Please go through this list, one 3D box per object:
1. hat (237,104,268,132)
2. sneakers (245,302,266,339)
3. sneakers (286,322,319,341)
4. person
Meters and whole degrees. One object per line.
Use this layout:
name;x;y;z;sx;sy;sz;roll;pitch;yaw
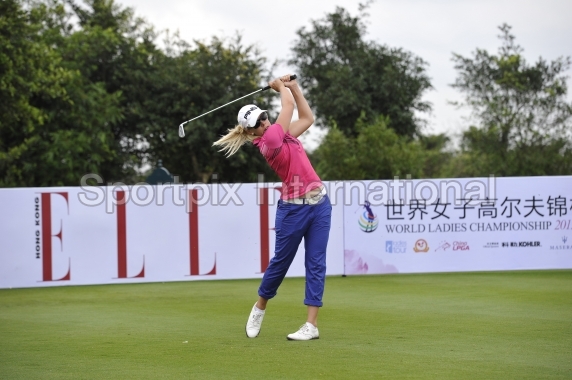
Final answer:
hat;-0.512;-1.072;15.265;0.216;0.307;0.394;48;-27;-18
sneakers;-0.452;1.990;15.276;0.197;0.596;0.229;16;-18;-19
sneakers;0.272;2.119;15.250;0.506;0.220;0.207;0;-4;-20
person;-0.031;0.250;15.287;1.386;3.947;0.499;0;-2;2
